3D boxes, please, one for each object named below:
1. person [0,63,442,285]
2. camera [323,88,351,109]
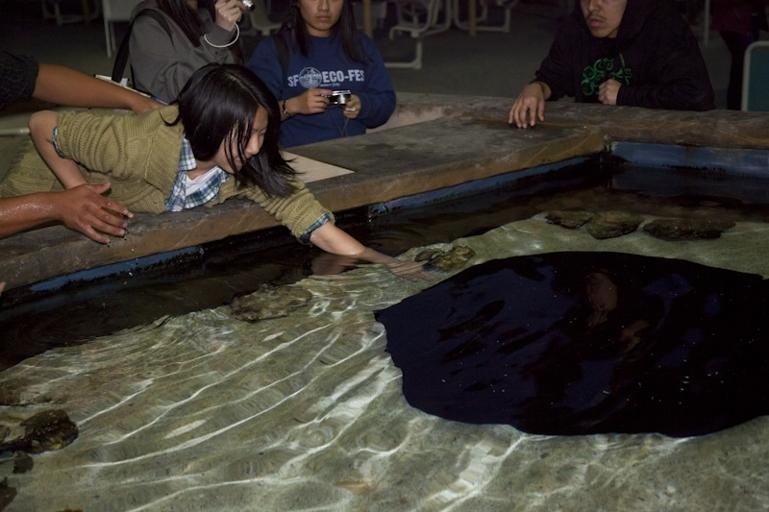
[{"bbox_3d":[-0.950,-0.447,2.962,2.454,0.923,0.764,16,54,-7],"label":"person"},{"bbox_3d":[-0.340,-1.205,3.849,0.171,0.103,0.034,1,56,-9],"label":"camera"}]
